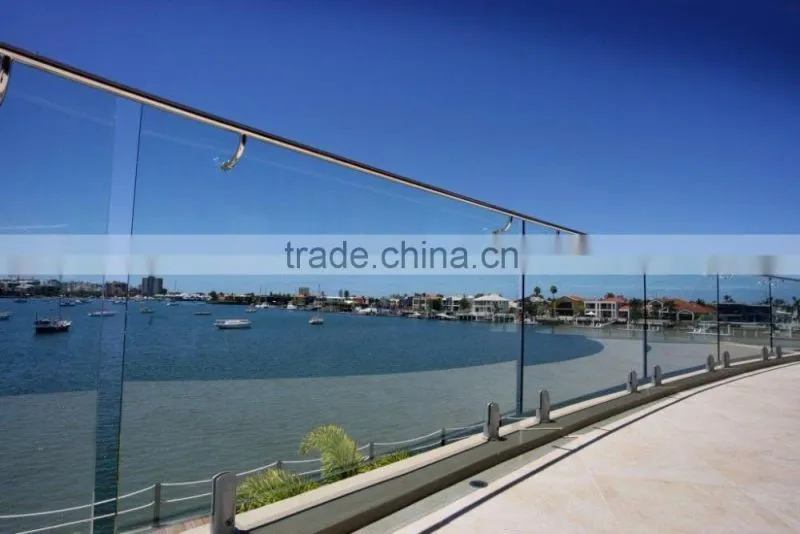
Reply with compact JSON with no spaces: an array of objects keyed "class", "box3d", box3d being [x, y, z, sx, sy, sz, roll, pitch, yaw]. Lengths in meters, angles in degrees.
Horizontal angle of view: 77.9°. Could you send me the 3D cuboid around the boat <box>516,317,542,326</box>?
[{"class":"boat","box3d":[1.691,0.717,6.541,0.241,0.071,0.148,1,-2,-10]}]
